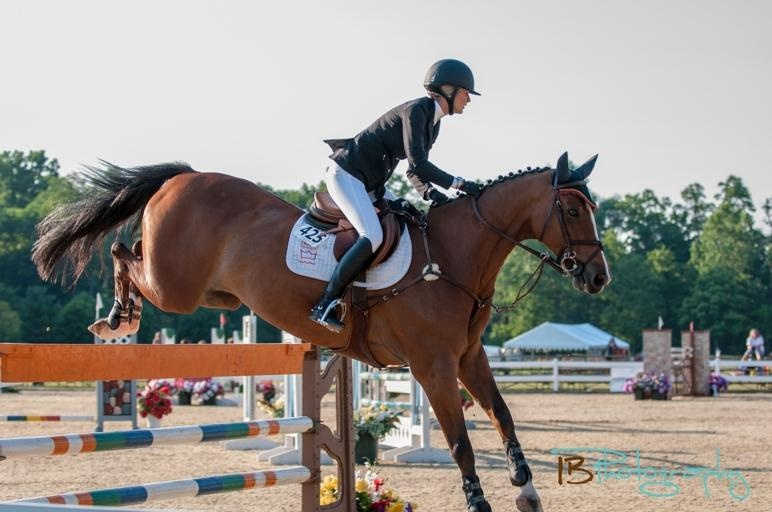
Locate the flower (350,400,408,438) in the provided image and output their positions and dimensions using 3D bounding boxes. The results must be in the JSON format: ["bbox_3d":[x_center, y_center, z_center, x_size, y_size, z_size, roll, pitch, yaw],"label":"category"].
[{"bbox_3d":[-0.128,3.728,30.401,0.839,0.654,0.927,-3,-4,36],"label":"flower"}]

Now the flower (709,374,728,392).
[{"bbox_3d":[9.926,3.720,39.473,0.503,0.290,0.631,10,-4,-4],"label":"flower"}]

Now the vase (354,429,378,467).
[{"bbox_3d":[-0.442,4.358,30.277,0.753,0.880,0.661,0,3,1],"label":"vase"}]

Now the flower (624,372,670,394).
[{"bbox_3d":[7.688,3.652,38.469,0.825,0.555,1.090,1,-5,23],"label":"flower"}]

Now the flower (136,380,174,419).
[{"bbox_3d":[-5.718,3.481,32.801,1.079,1.265,1.013,-1,-8,5],"label":"flower"}]

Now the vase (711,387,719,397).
[{"bbox_3d":[9.808,3.980,39.188,0.174,0.270,0.587,-3,-8,14],"label":"vase"}]

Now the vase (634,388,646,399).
[{"bbox_3d":[7.434,3.963,38.434,0.275,0.399,0.398,3,-6,8],"label":"vase"}]
